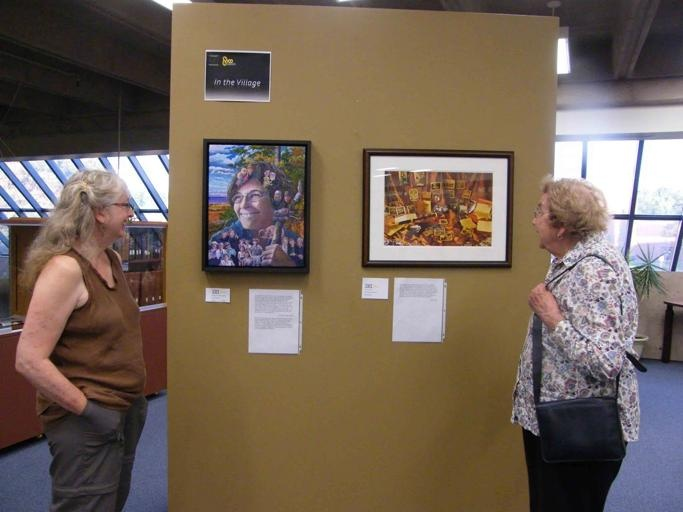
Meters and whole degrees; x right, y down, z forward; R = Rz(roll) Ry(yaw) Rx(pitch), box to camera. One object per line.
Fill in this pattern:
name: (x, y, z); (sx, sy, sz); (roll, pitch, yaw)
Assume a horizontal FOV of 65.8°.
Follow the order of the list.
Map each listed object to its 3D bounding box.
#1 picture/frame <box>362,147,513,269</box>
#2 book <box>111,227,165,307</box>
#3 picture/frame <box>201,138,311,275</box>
picture/frame: (0.639, -0.357, 3.685); (0.748, 0.648, 0.038); (0, 1, -2)
book: (-2.094, 0.112, 5.384); (0.089, 0.811, 0.890); (-3, 0, 20)
picture/frame: (-0.607, -0.355, 3.637); (0.814, 1.102, 0.057); (0, -1, 0)
